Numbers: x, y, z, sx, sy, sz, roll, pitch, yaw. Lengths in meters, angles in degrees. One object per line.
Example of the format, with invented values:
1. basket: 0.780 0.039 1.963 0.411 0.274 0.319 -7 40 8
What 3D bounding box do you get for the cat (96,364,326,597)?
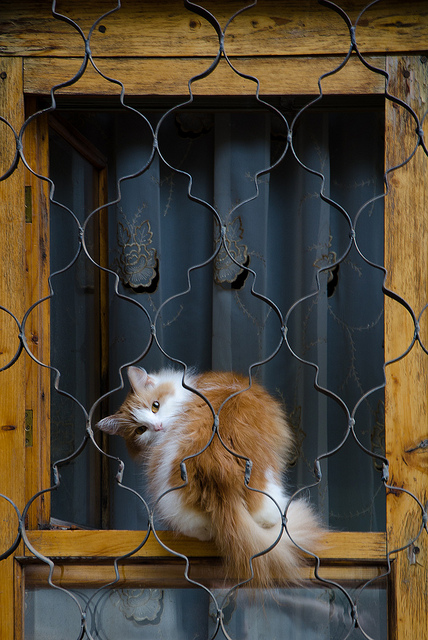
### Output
1. cat: 0.000 0.221 1.977 0.378 0.396 0.299 3 -21 -3
